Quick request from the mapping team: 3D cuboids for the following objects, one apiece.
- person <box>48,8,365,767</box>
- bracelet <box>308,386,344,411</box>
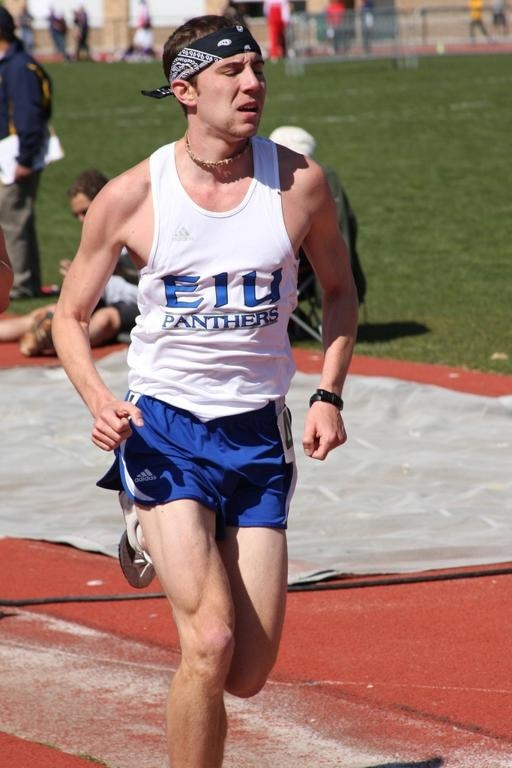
[{"bbox_3d":[-0.048,-0.041,2.156,0.679,1.476,0.733,-2,11,-7],"label":"person"},{"bbox_3d":[0.151,0.034,2.364,0.075,0.040,0.069,9,-12,22],"label":"bracelet"}]
